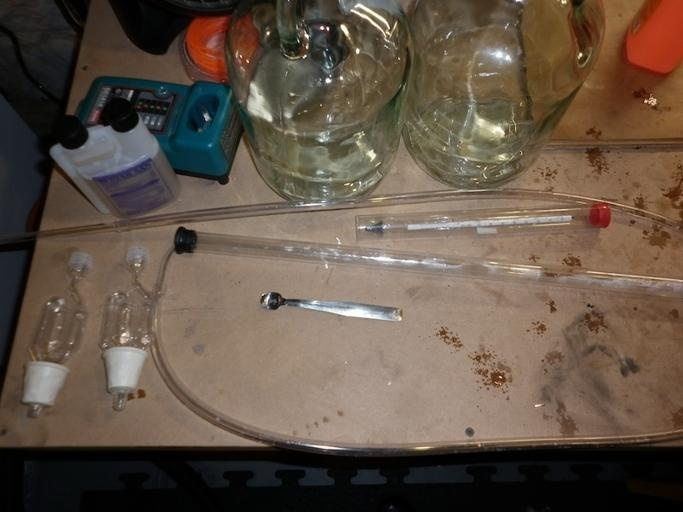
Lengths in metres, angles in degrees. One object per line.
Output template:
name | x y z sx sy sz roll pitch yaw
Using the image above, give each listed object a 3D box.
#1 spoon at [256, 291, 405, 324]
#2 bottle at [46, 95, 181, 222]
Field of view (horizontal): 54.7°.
spoon | -0.024 0.116 1.455 0.233 0.029 0.043 7 76 7
bottle | -0.500 -0.212 1.458 0.210 0.317 0.118 -21 66 -10
